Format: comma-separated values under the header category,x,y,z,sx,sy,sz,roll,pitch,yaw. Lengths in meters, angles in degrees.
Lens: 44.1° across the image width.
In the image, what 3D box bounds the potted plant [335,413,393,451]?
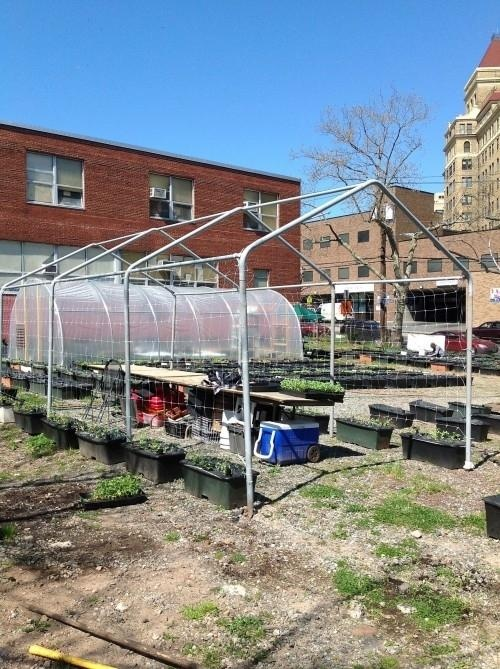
category,x,y,z,sx,sy,sz,roll,pitch,yaw
potted plant,1.470,1.318,8.169,0.763,0.298,0.308,6,6,44

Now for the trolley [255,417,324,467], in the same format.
category,x,y,z,sx,sy,sz,roll,pitch,yaw
trolley,0.431,1.246,7.202,0.702,0.412,0.431,-3,5,-35

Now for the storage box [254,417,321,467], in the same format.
category,x,y,z,sx,sy,sz,roll,pitch,yaw
storage box,0.459,1.252,7.131,0.709,0.414,0.432,-3,5,-34

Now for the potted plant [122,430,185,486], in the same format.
category,x,y,z,sx,sy,sz,roll,pitch,yaw
potted plant,-0.990,1.296,6.378,0.357,0.354,0.680,-2,6,-39

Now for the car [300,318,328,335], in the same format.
category,x,y,z,sx,sy,sz,roll,pitch,yaw
car,4.195,-0.515,40.169,2.177,0.934,1.332,0,1,40

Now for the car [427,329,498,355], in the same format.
category,x,y,z,sx,sy,sz,roll,pitch,yaw
car,7.581,0.307,22.140,2.482,0.778,1.104,-1,0,26

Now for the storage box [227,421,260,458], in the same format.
category,x,y,z,sx,sy,sz,roll,pitch,yaw
storage box,-0.117,1.223,7.460,0.375,0.430,0.478,2,-5,-29

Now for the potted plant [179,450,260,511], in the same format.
category,x,y,z,sx,sy,sz,roll,pitch,yaw
potted plant,-0.277,1.396,5.698,0.448,0.248,0.716,8,-6,-40
